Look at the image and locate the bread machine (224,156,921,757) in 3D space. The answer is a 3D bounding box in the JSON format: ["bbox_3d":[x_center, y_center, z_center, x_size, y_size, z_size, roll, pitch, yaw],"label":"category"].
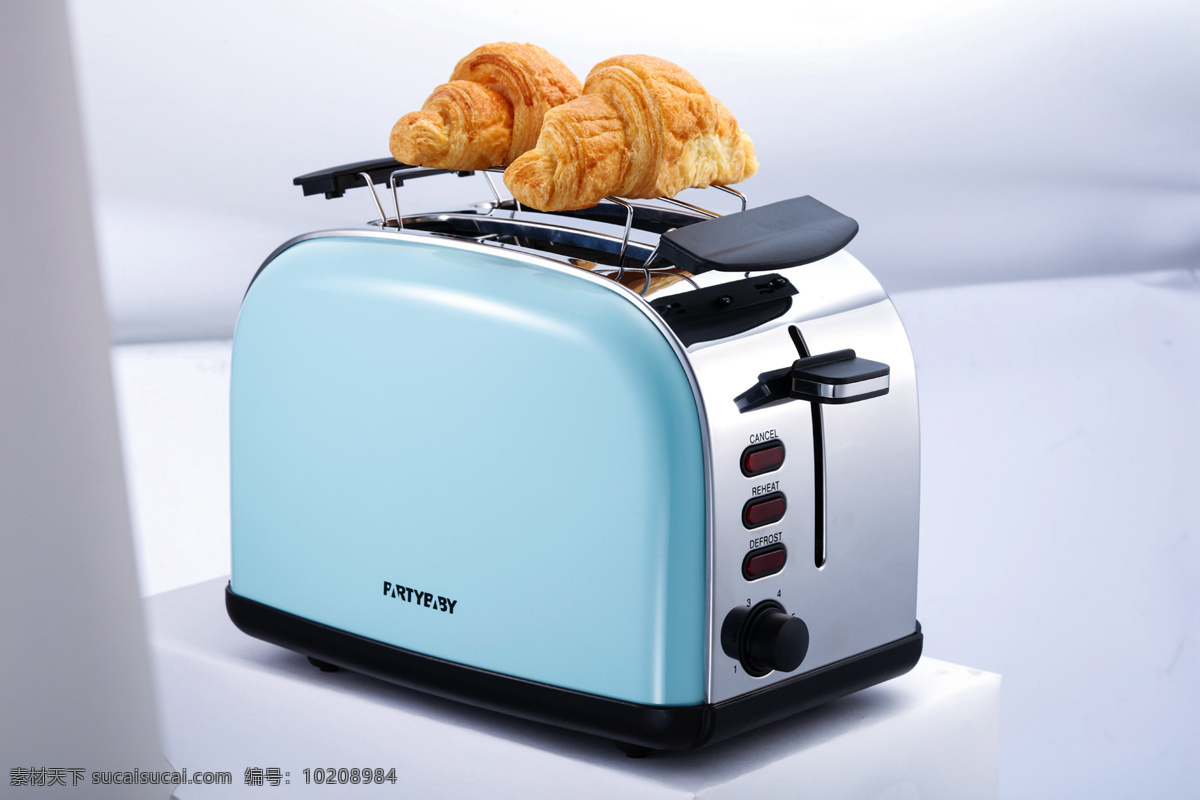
[{"bbox_3d":[-0.025,0.001,0.827,0.494,0.328,0.329,8,13,35],"label":"bread machine"}]
